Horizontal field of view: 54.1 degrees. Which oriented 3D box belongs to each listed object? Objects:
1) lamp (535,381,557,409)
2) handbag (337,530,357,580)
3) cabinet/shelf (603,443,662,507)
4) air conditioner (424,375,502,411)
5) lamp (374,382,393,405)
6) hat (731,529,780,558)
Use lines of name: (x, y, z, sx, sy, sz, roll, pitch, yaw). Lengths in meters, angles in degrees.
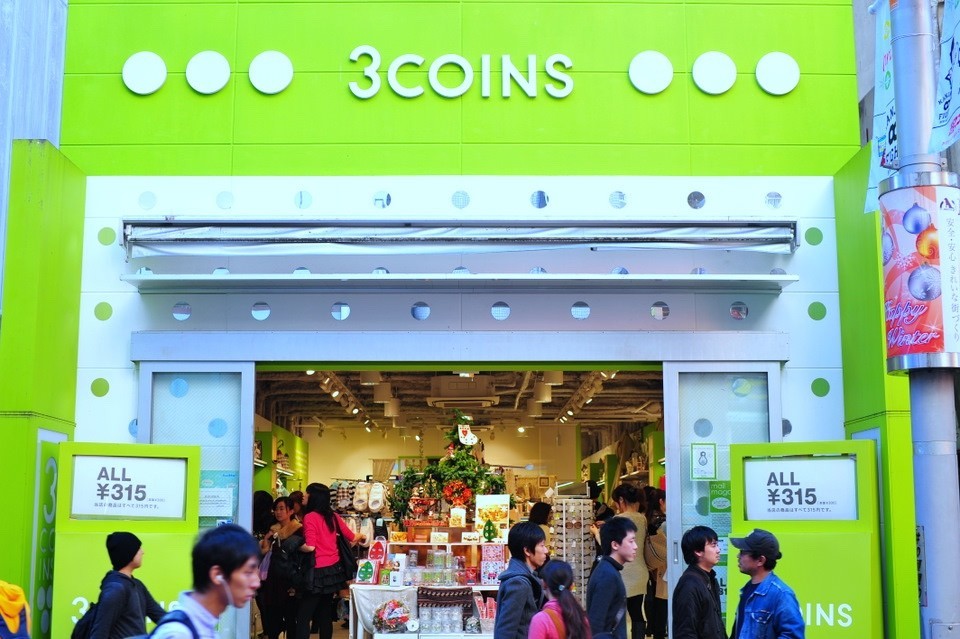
lamp: (1.054, 1.224, 15.904, 0.471, 0.528, 0.477, 1, -18, 0)
handbag: (-1.411, 2.517, 9.913, 0.215, 0.510, 0.408, 2, -14, -9)
cabinet/shelf: (2.642, 2.690, 16.246, 0.515, 1.746, 1.795, 6, -15, -8)
air conditioner: (-0.311, 1.291, 16.107, 1.111, 0.539, 1.381, 0, -14, 1)
lamp: (-1.728, 1.317, 16.701, 0.359, 0.412, 0.362, 0, -10, -1)
hat: (1.814, 1.481, 6.211, 0.278, 0.139, 0.182, 6, -4, 12)
